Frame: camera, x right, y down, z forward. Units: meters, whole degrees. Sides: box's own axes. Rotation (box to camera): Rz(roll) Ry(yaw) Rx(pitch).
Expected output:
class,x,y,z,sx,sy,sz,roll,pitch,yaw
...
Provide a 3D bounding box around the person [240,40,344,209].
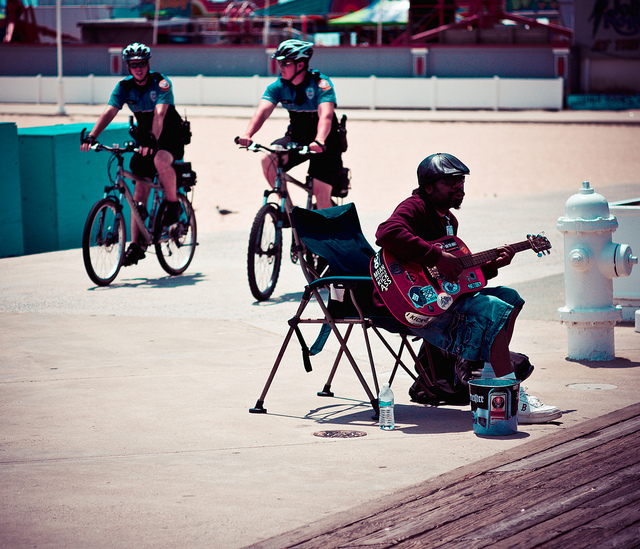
class,x,y,z,sx,sy,sz,roll,pitch,yaw
person,-0.226,-1.422,12.677,0.929,1.578,1.025,2,6,3

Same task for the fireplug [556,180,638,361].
class,x,y,z,sx,sy,sz,roll,pitch,yaw
fireplug,2.082,-0.039,10.366,0.719,1.282,0.731,2,19,-12

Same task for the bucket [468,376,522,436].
class,x,y,z,sx,sy,sz,roll,pitch,yaw
bucket,1.147,0.867,8.760,0.390,0.331,0.376,1,-1,0

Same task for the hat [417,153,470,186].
class,x,y,z,sx,sy,sz,roll,pitch,yaw
hat,0.825,-0.712,9.064,0.302,0.138,0.215,-4,12,31

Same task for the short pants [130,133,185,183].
class,x,y,z,sx,sy,sz,roll,pitch,yaw
short pants,-1.626,-1.187,13.517,0.359,0.518,0.219,11,2,33

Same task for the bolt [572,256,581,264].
class,x,y,z,sx,sy,sz,roll,pitch,yaw
bolt,1.967,-0.113,10.259,0.067,0.060,0.016,7,8,45

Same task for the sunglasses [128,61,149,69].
class,x,y,z,sx,sy,sz,roll,pitch,yaw
sunglasses,-1.799,-2.079,13.277,0.184,0.080,0.132,1,5,-6

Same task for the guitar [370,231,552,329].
class,x,y,z,sx,sy,sz,roll,pitch,yaw
guitar,0.961,0.007,9.085,1.174,0.472,0.166,-16,-10,-23

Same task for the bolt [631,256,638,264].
class,x,y,z,sx,sy,sz,roll,pitch,yaw
bolt,2.420,-0.112,10.326,0.050,0.051,0.064,-26,-8,35

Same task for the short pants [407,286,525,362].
class,x,y,z,sx,sy,sz,roll,pitch,yaw
short pants,1.002,0.328,8.878,0.673,0.495,0.248,0,-28,-22

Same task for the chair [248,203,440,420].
class,x,y,z,sx,sy,sz,roll,pitch,yaw
chair,0.310,0.150,9.343,1.446,1.397,1.324,-1,12,-7

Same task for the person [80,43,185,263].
class,x,y,z,sx,sy,sz,roll,pitch,yaw
person,-1.891,-1.219,13.433,1.058,2.120,1.337,-1,1,4

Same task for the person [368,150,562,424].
class,x,y,z,sx,sy,sz,roll,pitch,yaw
person,0.974,0.083,9.050,1.277,1.786,0.565,2,6,2
